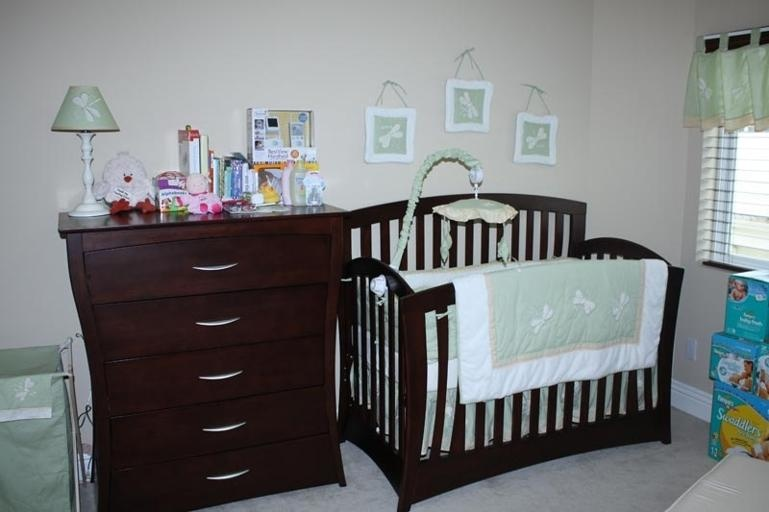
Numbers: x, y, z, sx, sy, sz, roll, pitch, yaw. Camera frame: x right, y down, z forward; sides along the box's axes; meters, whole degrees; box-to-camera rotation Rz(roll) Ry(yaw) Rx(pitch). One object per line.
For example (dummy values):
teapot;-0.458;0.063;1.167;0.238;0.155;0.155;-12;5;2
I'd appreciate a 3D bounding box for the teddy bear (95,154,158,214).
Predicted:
teddy bear;-1.408;-0.382;3.150;0.324;0.337;0.181;-3;5;-28

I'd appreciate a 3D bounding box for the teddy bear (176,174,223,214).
teddy bear;-0.961;-0.323;3.040;0.207;0.215;0.167;-5;8;-16

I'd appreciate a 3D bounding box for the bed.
bed;0.761;0.421;3.612;2.089;1.563;0.963;-6;12;-18

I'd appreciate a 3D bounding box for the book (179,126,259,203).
book;-0.960;-0.507;3.377;0.389;0.592;0.420;-4;10;-30

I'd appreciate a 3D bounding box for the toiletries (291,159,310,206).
toiletries;-0.469;-0.377;3.170;0.100;0.195;0.050;-4;12;-9

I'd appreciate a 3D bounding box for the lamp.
lamp;-1.532;-0.556;3.038;0.311;0.658;0.394;-7;13;-24
